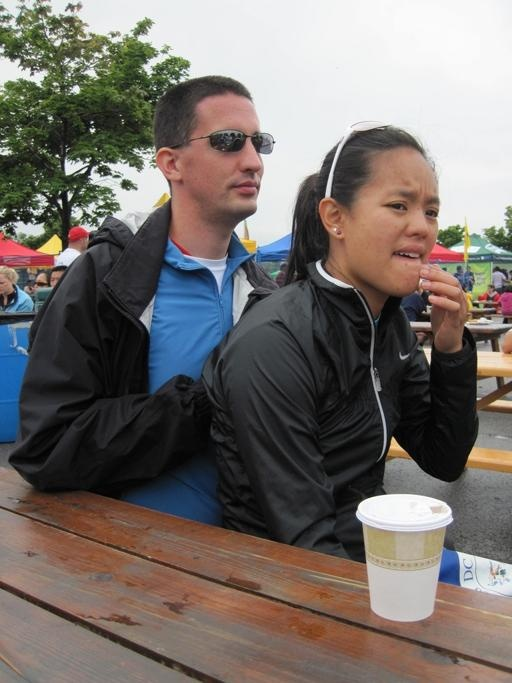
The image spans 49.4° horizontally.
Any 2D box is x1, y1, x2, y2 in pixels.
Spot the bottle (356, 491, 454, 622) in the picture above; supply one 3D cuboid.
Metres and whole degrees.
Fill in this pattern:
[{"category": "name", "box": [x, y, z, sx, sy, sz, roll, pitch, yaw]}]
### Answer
[{"category": "bottle", "box": [0.232, 0.361, 0.931, 0.173, 0.168, 0.158, 4, -8, -7]}]
